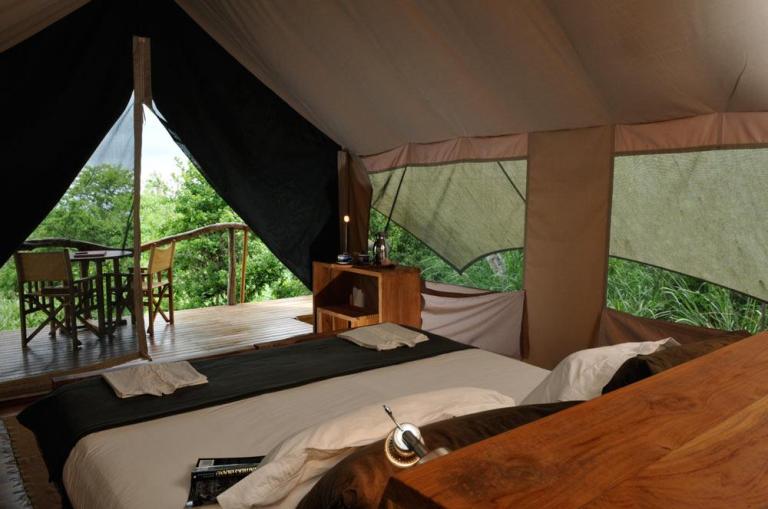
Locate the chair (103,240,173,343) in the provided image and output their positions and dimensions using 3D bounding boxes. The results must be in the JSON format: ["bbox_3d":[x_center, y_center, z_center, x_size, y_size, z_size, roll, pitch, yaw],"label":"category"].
[{"bbox_3d":[-2.766,0.372,5.791,0.716,0.873,0.787,-1,5,13],"label":"chair"}]

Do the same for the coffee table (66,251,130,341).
[{"bbox_3d":[-2.645,0.358,4.748,0.728,0.721,0.698,6,1,-22],"label":"coffee table"}]

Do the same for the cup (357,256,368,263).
[{"bbox_3d":[-0.220,0.052,5.309,0.084,0.047,0.084,0,0,0],"label":"cup"}]

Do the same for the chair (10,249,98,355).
[{"bbox_3d":[-2.854,0.364,4.539,0.665,0.753,0.690,0,1,29],"label":"chair"}]

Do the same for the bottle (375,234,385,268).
[{"bbox_3d":[-0.051,-0.048,5.052,0.094,0.319,0.178,-3,-2,0],"label":"bottle"}]
